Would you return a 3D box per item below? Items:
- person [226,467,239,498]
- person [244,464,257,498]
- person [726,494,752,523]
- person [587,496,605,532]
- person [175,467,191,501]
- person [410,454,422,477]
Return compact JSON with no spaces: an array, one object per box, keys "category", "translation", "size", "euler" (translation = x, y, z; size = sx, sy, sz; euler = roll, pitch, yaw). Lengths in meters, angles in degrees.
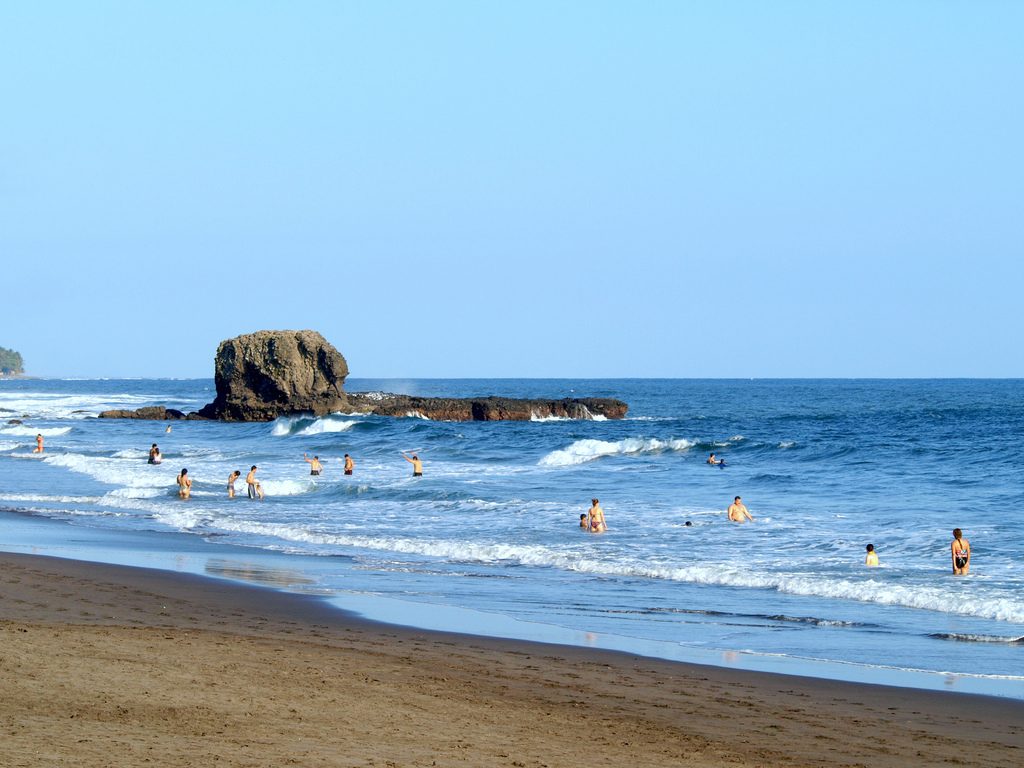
[{"category":"person","translation":[-8.098,2.870,43.304],"size":[0.296,0.776,1.080],"euler":[2,10,-10]},{"category":"person","translation":[-7.525,2.849,43.352],"size":[0.276,0.868,1.053],"euler":[2,10,-10]},{"category":"person","translation":[5.837,3.180,38.023],"size":[0.574,0.568,0.921],"euler":[5,10,7]},{"category":"person","translation":[2.100,3.122,36.461],"size":[0.456,0.807,0.834],"euler":[4,10,3]},{"category":"person","translation":[-9.258,2.814,42.186],"size":[0.393,0.882,1.008],"euler":[2,10,-11]},{"category":"person","translation":[-3.299,2.808,51.559],"size":[0.698,0.832,0.270],"euler":[-4,46,-6]}]
